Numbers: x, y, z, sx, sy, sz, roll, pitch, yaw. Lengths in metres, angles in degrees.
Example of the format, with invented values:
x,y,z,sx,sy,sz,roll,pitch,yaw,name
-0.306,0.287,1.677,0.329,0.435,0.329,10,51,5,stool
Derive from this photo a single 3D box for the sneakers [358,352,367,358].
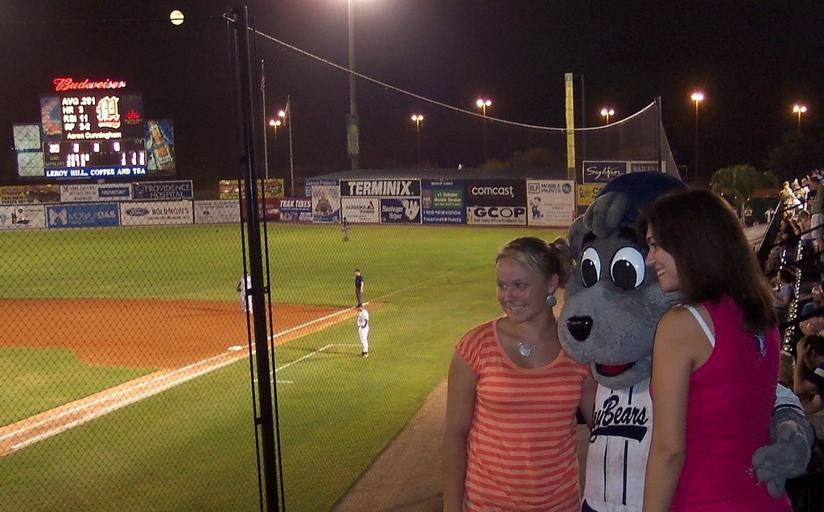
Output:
x,y,z,sx,sy,sz,roll,pitch,yaw,name
-1.078,2.203,15.986,0.141,0.100,0.083,-3,6,-39,sneakers

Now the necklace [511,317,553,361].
x,y,z,sx,sy,sz,roll,pitch,yaw,name
1.026,0.693,6.001,0.265,0.345,0.111,10,-7,-1,necklace
